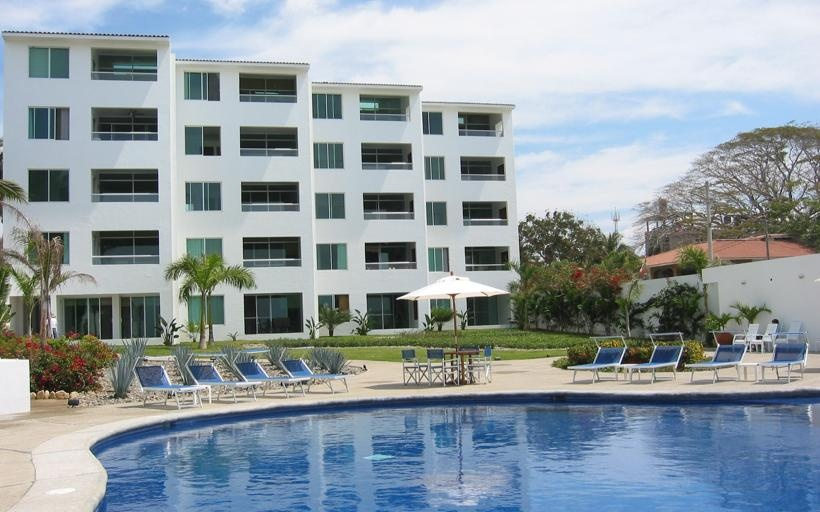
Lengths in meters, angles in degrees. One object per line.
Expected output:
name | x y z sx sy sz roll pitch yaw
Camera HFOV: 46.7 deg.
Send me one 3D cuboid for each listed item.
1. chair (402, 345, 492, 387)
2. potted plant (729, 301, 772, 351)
chair | 1.620 4.831 42.041 3.869 1.575 3.123 -3 -4 2
potted plant | 17.103 3.475 49.019 2.288 2.539 2.119 -7 -14 42
